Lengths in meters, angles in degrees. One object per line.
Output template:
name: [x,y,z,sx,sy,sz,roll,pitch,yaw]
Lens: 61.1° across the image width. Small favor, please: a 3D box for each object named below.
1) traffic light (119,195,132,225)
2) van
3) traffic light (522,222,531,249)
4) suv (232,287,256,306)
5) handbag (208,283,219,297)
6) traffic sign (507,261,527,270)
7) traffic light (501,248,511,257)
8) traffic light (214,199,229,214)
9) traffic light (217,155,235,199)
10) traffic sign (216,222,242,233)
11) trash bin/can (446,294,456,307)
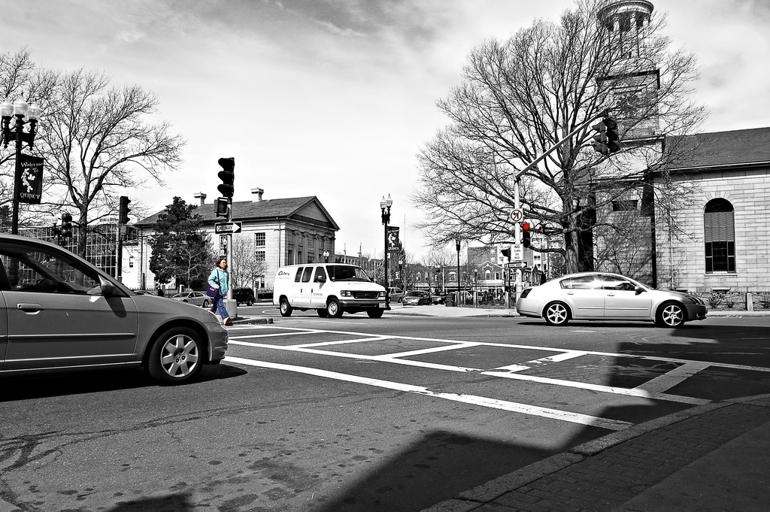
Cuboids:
traffic light: [-10.779,-1.882,26.826,0.346,1.119,1.685,-3,7,-23]
van: [-2.280,1.372,25.547,2.134,1.498,3.822,4,-8,-38]
traffic light: [5.800,-0.915,26.864,0.362,1.084,1.189,1,6,9]
suv: [-11.794,3.357,54.471,1.259,1.546,3.493,0,6,-3]
handbag: [-4.849,0.956,18.347,0.289,0.366,0.199,12,39,-7]
traffic sign: [5.901,0.367,28.503,0.864,0.417,0.835,-1,6,-12]
traffic light: [5.918,-0.195,31.896,0.414,0.389,0.221,2,-13,-4]
traffic light: [-4.887,-1.499,19.435,0.359,0.482,0.719,-1,6,-13]
traffic light: [-4.630,-2.246,18.933,0.411,1.198,1.046,-2,7,-16]
traffic sign: [-4.787,-0.856,19.778,0.666,0.403,1.479,-2,6,-17]
trash bin/can: [4.879,3.273,48.361,0.581,0.562,0.946,-3,1,10]
